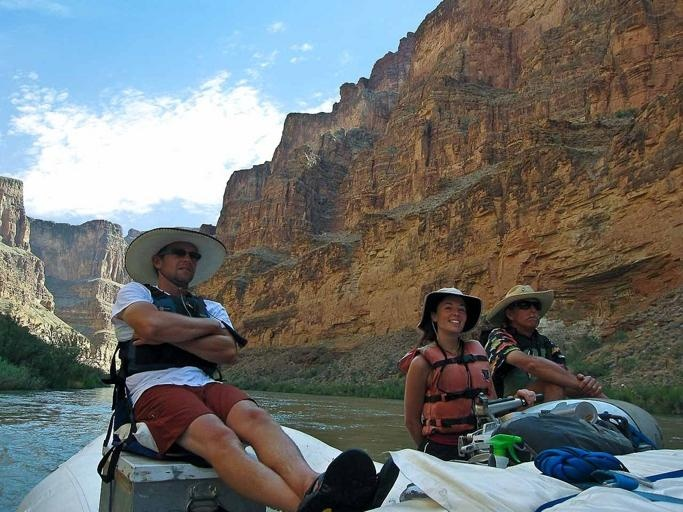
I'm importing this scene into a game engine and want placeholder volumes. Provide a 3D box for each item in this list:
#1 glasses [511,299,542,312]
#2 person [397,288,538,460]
[{"bbox_3d":[1.603,0.423,5.640,0.140,0.040,0.124,2,-39,1],"label":"glasses"},{"bbox_3d":[0.763,0.839,4.738,0.682,1.200,0.563,-5,-7,6],"label":"person"}]
